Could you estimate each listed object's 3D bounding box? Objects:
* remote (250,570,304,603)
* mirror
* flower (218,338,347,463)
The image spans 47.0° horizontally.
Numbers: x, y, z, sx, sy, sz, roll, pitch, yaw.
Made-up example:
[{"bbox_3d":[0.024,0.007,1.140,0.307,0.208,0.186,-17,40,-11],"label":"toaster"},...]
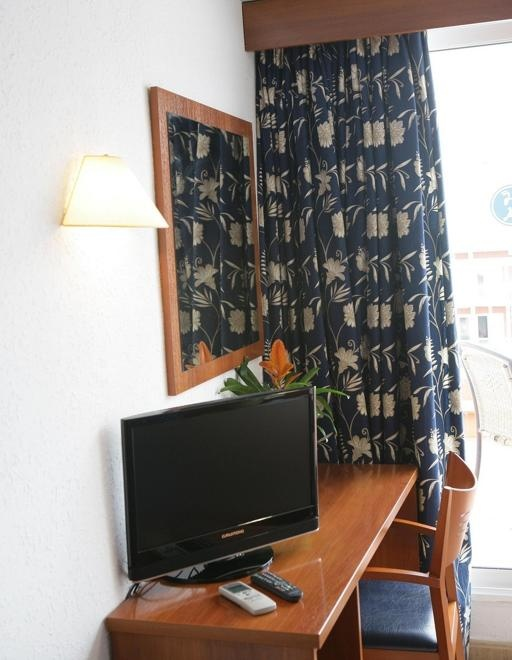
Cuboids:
[{"bbox_3d":[0.048,0.549,1.271,0.040,0.022,0.088,-8,16,-40],"label":"remote"},{"bbox_3d":[-0.119,-0.301,1.881,0.104,0.915,0.895,-2,2,12],"label":"mirror"},{"bbox_3d":[0.081,0.218,2.025,0.381,0.248,0.393,17,-15,-22],"label":"flower"}]
